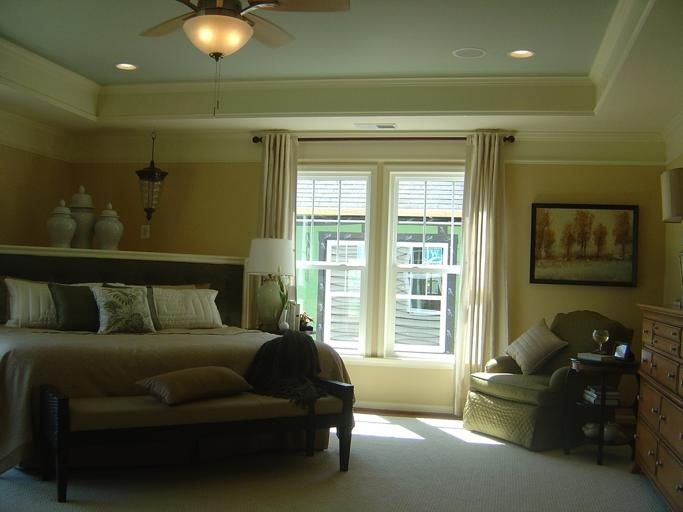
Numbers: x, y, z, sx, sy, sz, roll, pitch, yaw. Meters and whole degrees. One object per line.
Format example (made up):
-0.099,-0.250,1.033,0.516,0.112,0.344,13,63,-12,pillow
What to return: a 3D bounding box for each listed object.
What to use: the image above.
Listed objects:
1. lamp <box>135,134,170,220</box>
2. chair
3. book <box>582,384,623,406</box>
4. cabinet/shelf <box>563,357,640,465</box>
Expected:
-2.160,-0.913,6.125,0.300,1.023,0.511,2,1,-20,lamp
1.856,1.153,5.186,1.427,1.341,1.092,9,-11,-30,chair
2.207,1.187,4.569,0.256,0.061,0.263,1,2,5,book
2.252,1.265,4.542,0.572,0.928,0.497,2,1,-32,cabinet/shelf
